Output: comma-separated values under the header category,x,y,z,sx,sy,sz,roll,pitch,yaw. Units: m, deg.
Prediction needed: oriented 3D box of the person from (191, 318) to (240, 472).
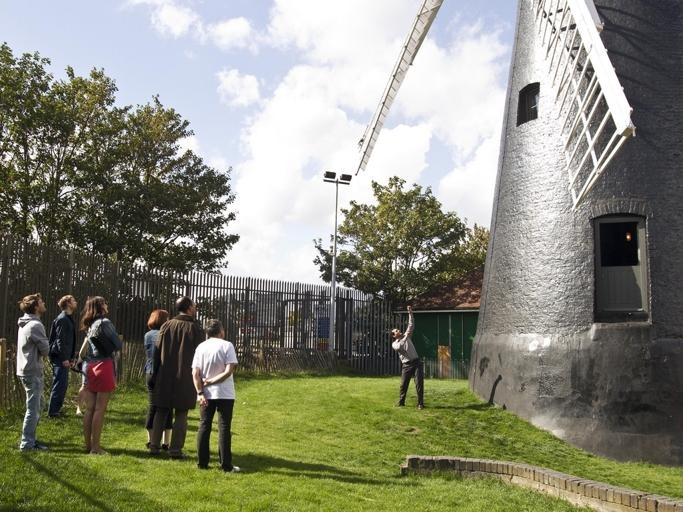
category,x,y,z,sx,sy,sz,roll,pitch,yaw
person,-1.973,2.138,8.891,0.788,2.317,0.620,3,-9,-5

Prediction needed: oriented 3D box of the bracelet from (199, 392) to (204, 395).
category,x,y,z,sx,sy,sz,roll,pitch,yaw
bracelet,-2.154,2.090,8.726,0.096,0.072,0.036,-3,-10,28

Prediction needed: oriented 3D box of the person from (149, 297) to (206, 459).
category,x,y,z,sx,sy,sz,roll,pitch,yaw
person,-2.713,1.887,9.431,0.755,2.564,0.734,7,3,0

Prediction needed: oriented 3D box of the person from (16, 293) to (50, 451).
category,x,y,z,sx,sy,sz,roll,pitch,yaw
person,-4.948,1.813,9.158,0.487,2.439,0.607,10,-12,-42

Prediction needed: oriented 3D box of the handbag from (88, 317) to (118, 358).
category,x,y,z,sx,sy,sz,roll,pitch,yaw
handbag,-3.964,1.278,9.188,0.311,0.469,0.241,27,13,33

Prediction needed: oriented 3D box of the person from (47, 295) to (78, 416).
category,x,y,z,sx,sy,sz,roll,pitch,yaw
person,-5.379,1.892,10.945,0.466,2.371,1.030,6,-10,-27
